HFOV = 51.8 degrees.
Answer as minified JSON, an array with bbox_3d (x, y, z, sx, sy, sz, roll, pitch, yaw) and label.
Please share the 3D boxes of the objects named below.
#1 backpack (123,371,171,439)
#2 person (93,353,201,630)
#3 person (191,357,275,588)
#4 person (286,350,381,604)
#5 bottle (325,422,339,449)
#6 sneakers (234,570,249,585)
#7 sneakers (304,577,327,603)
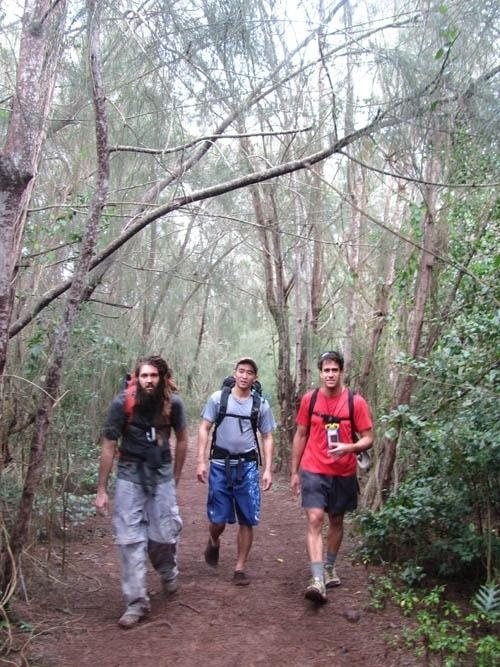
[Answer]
[{"bbox_3d":[-0.615,0.443,3.160,0.237,0.378,0.368,1,-25,-4],"label":"backpack"},{"bbox_3d":[-0.644,0.921,3.216,0.334,1.559,0.657,-3,-9,31],"label":"person"},{"bbox_3d":[-0.109,0.998,3.824,0.566,1.590,0.468,1,-7,0],"label":"person"},{"bbox_3d":[0.562,0.956,3.573,0.554,1.673,0.936,0,-8,5],"label":"person"},{"bbox_3d":[0.546,0.676,3.400,0.085,0.173,0.106,0,-8,8],"label":"bottle"},{"bbox_3d":[-0.067,1.733,3.628,0.113,0.088,0.107,0,-9,10],"label":"sneakers"},{"bbox_3d":[0.414,1.596,3.180,0.088,0.138,0.274,-2,-49,13],"label":"sneakers"}]
